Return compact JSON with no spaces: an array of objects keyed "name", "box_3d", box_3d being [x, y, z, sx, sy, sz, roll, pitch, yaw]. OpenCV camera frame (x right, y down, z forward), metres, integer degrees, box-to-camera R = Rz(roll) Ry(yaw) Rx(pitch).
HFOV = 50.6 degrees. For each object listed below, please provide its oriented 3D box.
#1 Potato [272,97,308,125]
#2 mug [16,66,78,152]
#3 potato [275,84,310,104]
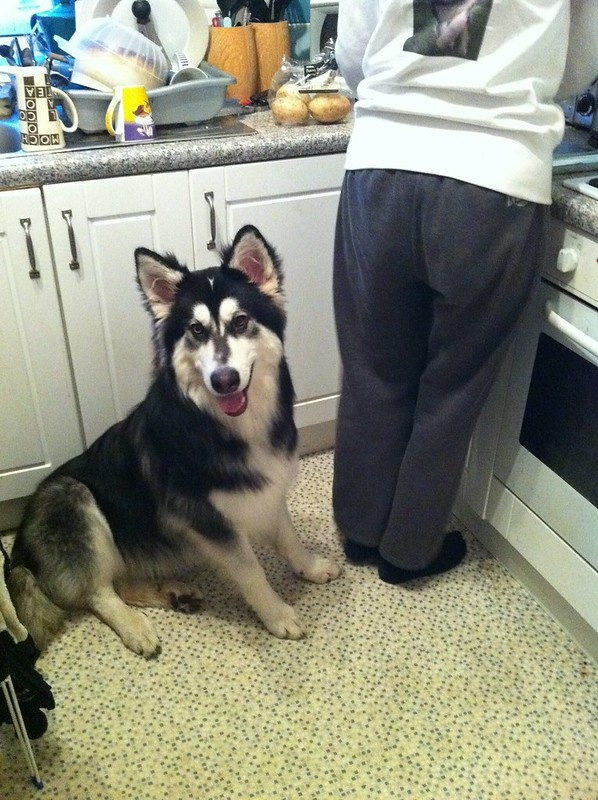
[{"name":"Potato","box_3d":[-0.025,-0.775,1.700,0.088,0.067,0.067,23,55,29]},{"name":"mug","box_3d":[-0.595,-0.681,1.492,0.101,0.181,0.171,15,25,32]},{"name":"potato","box_3d":[-0.022,-0.832,1.713,0.060,0.046,0.080,2,17,6]}]
